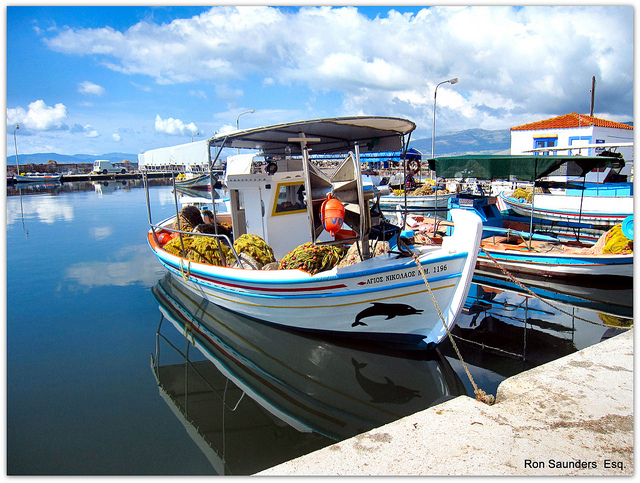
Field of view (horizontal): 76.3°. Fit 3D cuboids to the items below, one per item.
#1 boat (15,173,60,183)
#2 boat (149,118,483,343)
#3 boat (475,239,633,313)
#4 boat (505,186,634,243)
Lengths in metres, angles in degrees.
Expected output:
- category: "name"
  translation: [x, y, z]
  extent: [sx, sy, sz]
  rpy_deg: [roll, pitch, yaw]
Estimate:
- category: "boat"
  translation: [-43.740, -9.883, 62.794]
  extent: [5.134, 1.169, 9.402]
  rpy_deg: [-11, 14, -35]
- category: "boat"
  translation: [-0.679, -0.598, 9.217]
  extent: [8.414, 3.959, 3.786]
  rpy_deg: [6, 11, 40]
- category: "boat"
  translation: [5.197, 0.842, 11.077]
  extent: [1.636, 1.542, 5.048]
  rpy_deg: [-2, 3, -44]
- category: "boat"
  translation: [8.772, -0.906, 14.085]
  extent: [1.515, 1.149, 4.717]
  rpy_deg: [-8, 12, -29]
